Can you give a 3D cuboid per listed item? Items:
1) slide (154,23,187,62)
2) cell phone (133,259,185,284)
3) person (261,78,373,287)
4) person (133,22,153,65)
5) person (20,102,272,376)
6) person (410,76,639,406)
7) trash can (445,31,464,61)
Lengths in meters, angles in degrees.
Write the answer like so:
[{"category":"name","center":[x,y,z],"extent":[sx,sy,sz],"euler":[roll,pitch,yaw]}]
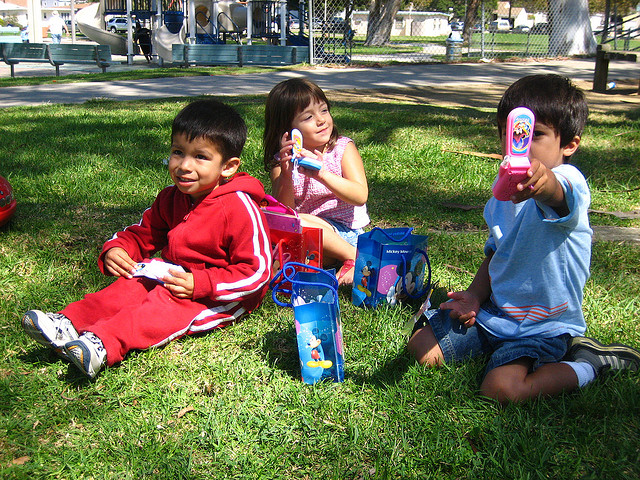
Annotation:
[{"category":"slide","center":[-4.959,-6.619,17.286],"extent":[0.968,1.455,0.501],"euler":[-1,-17,-7]},{"category":"cell phone","center":[-0.776,0.147,2.530],"extent":[0.195,0.033,0.120],"euler":[12,50,13]},{"category":"person","center":[-0.035,-0.387,3.231],"extent":[0.726,1.171,0.858],"euler":[2,15,5]},{"category":"person","center":[-6.721,-7.782,20.214],"extent":[0.519,1.238,1.171],"euler":[-5,16,-22]},{"category":"person","center":[-0.739,-0.078,2.504],"extent":[0.742,1.238,1.204],"euler":[11,11,28]},{"category":"person","center":[0.915,-0.041,2.284],"extent":[0.942,1.315,0.642],"euler":[-3,15,-13]},{"category":"trash can","center":[4.805,-6.893,18.521],"extent":[0.565,0.944,1.008],"euler":[5,16,13]}]
